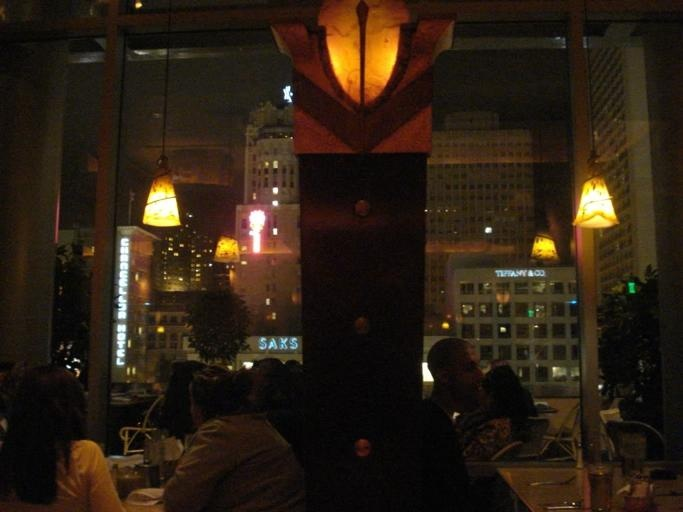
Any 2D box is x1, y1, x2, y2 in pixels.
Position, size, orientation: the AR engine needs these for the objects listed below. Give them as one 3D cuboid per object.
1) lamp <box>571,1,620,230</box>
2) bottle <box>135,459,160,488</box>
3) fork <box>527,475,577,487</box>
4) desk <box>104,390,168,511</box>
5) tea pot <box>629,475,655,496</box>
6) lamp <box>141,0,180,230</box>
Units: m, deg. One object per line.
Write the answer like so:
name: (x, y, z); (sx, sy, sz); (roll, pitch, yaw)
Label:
lamp: (1.308, -0.737, 5.123); (0.215, 1.218, 0.348); (-5, -12, 15)
bottle: (-0.895, 1.030, 4.504); (0.109, 0.158, 0.102); (-3, -3, 0)
fork: (0.999, 1.071, 4.525); (0.194, 0.034, 0.032); (0, -1, -12)
desk: (-1.014, 0.975, 4.840); (0.382, 0.621, 0.355); (1, -10, 2)
tea pot: (1.283, 0.991, 4.109); (0.115, 0.098, 0.080); (-3, -10, 18)
lamp: (-0.997, -0.805, 5.335); (0.212, 1.273, 0.281); (0, -12, -8)
